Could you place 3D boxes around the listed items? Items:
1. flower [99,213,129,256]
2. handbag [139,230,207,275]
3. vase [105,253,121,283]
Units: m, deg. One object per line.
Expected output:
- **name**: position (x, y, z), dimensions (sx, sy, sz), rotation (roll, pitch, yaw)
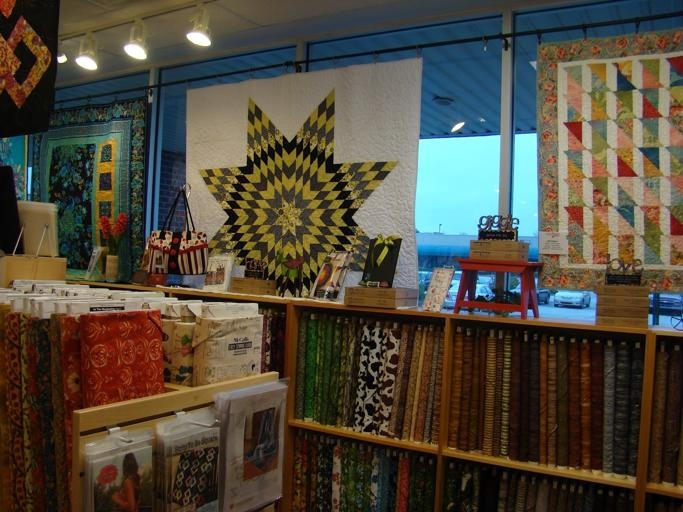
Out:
- **flower**: position (-2.164, -0.203, 5.794), dimensions (0.241, 0.414, 0.609), rotation (2, -1, -20)
- **handbag**: position (-1.426, -0.021, 5.141), dimensions (0.613, 0.363, 0.178), rotation (0, -1, 25)
- **vase**: position (-2.030, 0.122, 5.476), dimensions (0.189, 0.367, 0.191), rotation (1, -1, -22)
